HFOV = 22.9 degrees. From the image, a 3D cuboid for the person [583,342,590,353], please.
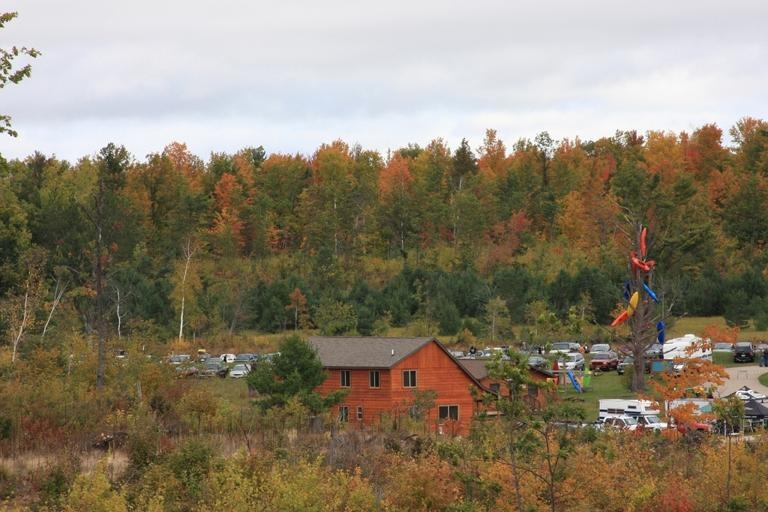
[{"bbox_3d":[22.905,10.389,214.655,0.691,0.502,0.977,-1,11,2],"label":"person"}]
